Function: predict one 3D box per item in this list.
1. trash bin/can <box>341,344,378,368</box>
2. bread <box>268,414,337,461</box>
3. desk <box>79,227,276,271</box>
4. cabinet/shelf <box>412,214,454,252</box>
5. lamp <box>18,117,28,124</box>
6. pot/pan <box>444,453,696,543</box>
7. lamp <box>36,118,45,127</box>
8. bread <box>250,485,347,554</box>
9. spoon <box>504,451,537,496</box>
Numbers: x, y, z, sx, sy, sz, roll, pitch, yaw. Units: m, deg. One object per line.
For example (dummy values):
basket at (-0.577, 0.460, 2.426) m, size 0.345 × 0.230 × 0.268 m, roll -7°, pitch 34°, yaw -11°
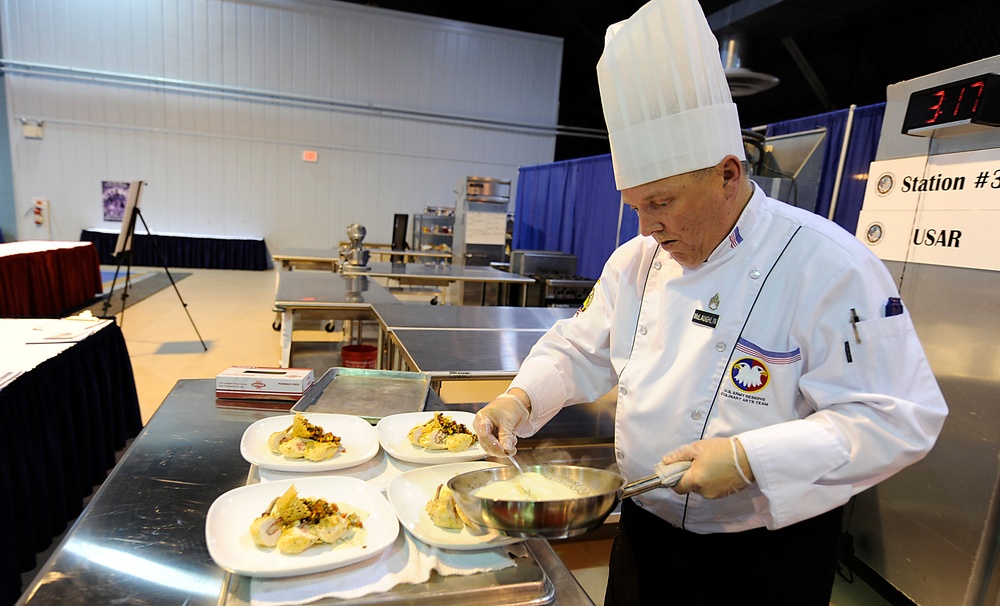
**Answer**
trash bin/can at (-0.993, 0.381, 4.157) m, size 0.184 × 0.138 × 0.193 m, roll 0°, pitch -2°, yaw -5°
bread at (-0.721, 0.515, 2.160) m, size 0.158 × 0.087 × 0.190 m, roll -4°, pitch 13°, yaw -31°
desk at (-5.959, -0.945, 11.227) m, size 2.917 × 0.802 × 0.743 m, roll -4°, pitch 11°, yaw -21°
cabinet/shelf at (-1.313, -1.312, 11.353) m, size 0.913 × 0.835 × 0.905 m, roll 1°, pitch -1°, yaw -18°
lamp at (-8.434, -3.192, 10.402) m, size 0.175 × 0.086 × 0.116 m, roll -1°, pitch 3°, yaw -9°
pot/pan at (0.183, 0.643, 1.937) m, size 0.615 × 0.137 × 0.361 m, roll 1°, pitch -5°, yaw -5°
lamp at (-8.187, -3.165, 10.473) m, size 0.169 × 0.159 × 0.089 m, roll 0°, pitch -1°, yaw -18°
bread at (-0.645, 0.709, 1.875) m, size 0.175 × 0.084 × 0.206 m, roll 17°, pitch 19°, yaw 42°
spoon at (0.068, 0.615, 2.056) m, size 0.071 × 0.114 × 0.017 m, roll -20°, pitch -20°, yaw -25°
